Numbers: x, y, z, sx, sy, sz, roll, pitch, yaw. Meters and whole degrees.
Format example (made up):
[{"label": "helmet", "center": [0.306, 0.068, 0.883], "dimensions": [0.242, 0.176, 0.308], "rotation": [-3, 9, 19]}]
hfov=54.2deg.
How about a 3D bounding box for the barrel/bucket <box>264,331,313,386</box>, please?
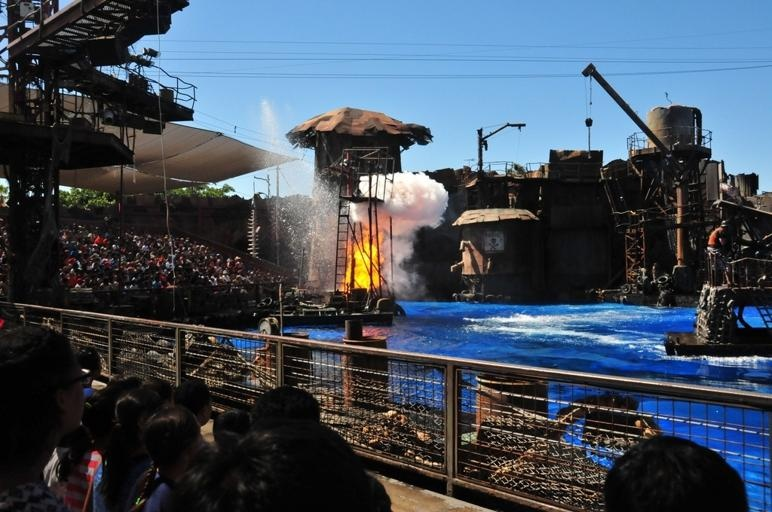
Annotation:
[{"label": "barrel/bucket", "center": [-2.146, 2.463, 17.948], "dimensions": [1.156, 1.221, 1.170], "rotation": [-1, 0, 0]}]
